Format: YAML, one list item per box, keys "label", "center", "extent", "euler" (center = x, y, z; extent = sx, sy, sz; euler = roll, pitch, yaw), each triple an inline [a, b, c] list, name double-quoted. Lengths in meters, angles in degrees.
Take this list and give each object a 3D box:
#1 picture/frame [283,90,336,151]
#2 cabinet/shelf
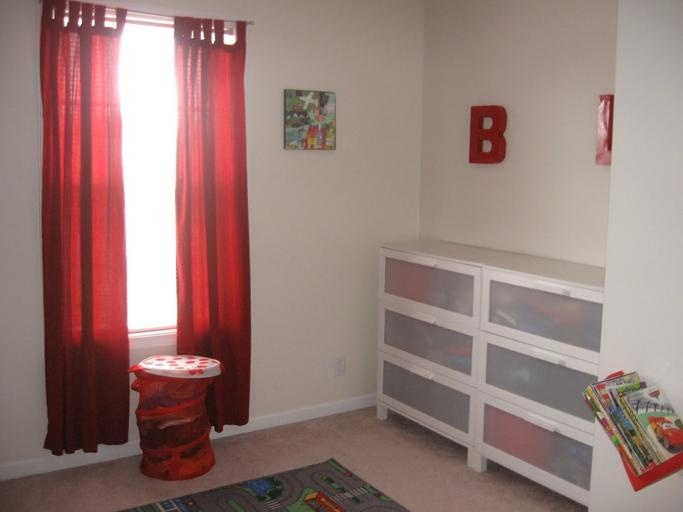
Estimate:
- label: "picture/frame"
  center: [-0.226, -0.895, 3.541]
  extent: [0.378, 0.399, 0.029]
  euler: [-5, 9, -30]
- label: "cabinet/shelf"
  center: [0.854, 0.663, 2.995]
  extent: [0.438, 0.905, 1.226]
  euler: [-3, 10, -35]
